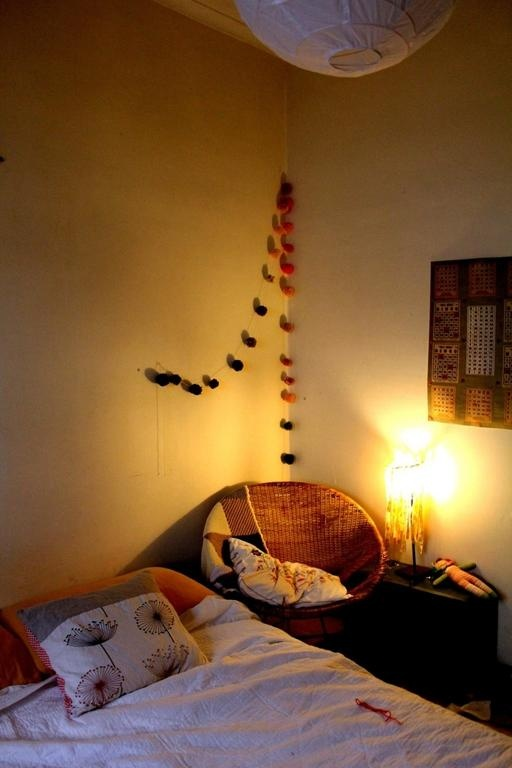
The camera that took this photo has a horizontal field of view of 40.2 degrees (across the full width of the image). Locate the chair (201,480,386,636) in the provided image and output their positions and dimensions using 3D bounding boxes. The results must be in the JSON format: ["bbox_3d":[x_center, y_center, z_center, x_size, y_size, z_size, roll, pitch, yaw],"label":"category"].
[{"bbox_3d":[0.125,0.741,3.138,0.711,0.406,0.729,19,15,28],"label":"chair"}]

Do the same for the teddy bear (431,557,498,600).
[{"bbox_3d":[0.872,0.815,2.947,0.137,0.046,0.181,-16,10,-15],"label":"teddy bear"}]

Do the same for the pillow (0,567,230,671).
[{"bbox_3d":[-0.439,0.916,2.650,0.277,0.122,0.488,27,23,37],"label":"pillow"}]
